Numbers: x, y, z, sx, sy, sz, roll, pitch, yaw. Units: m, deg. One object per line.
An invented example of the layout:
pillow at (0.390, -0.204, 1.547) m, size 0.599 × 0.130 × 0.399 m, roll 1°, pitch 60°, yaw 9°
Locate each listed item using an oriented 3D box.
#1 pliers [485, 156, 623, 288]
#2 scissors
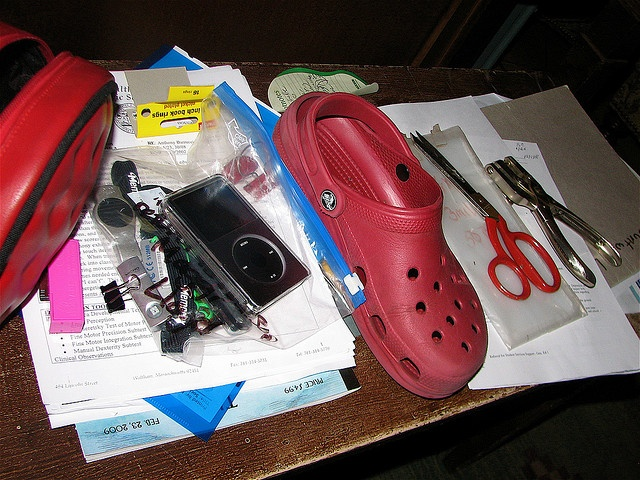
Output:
pliers at (0.355, -0.041, 0.715) m, size 0.112 × 0.043 × 0.244 m, roll -19°, pitch 59°, yaw -25°
scissors at (0.230, -0.056, 0.662) m, size 0.131 × 0.020 × 0.334 m, roll -30°, pitch 89°, yaw -36°
